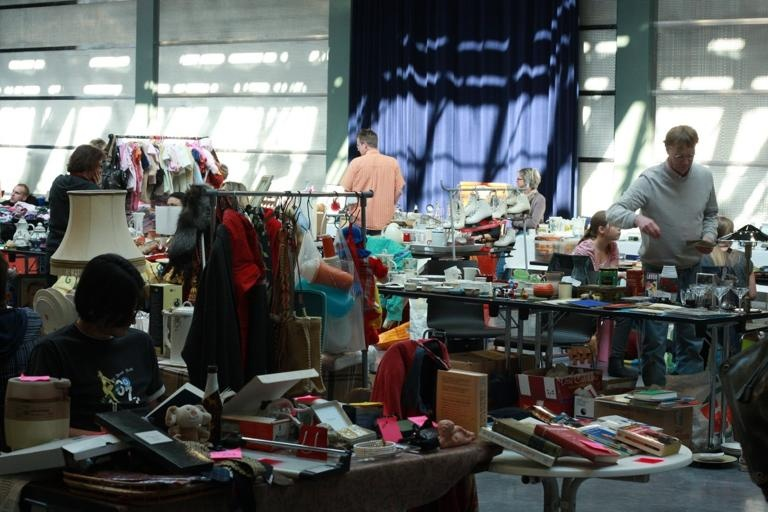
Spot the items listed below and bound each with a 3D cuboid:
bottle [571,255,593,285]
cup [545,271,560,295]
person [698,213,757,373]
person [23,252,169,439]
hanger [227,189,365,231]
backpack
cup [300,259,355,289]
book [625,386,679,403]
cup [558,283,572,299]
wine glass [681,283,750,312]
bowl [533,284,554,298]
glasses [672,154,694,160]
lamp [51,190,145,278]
[{"bbox_3d":[1.530,0.102,5.665,0.161,0.235,0.202,4,1,41],"label":"bottle"},{"bbox_3d":[1.085,0.193,4.847,0.124,0.163,0.118,0,-1,0],"label":"cup"},{"bbox_3d":[2.474,0.331,5.245,0.337,1.005,0.283,-5,18,26],"label":"person"},{"bbox_3d":[-1.138,0.370,2.952,0.401,0.744,0.731,-1,1,29],"label":"person"},{"bbox_3d":[-0.580,-0.306,5.050,0.599,0.368,0.040,0,12,-3],"label":"hanger"},{"bbox_3d":[0.117,0.491,3.278,0.295,0.377,0.362,4,4,35],"label":"backpack"},{"bbox_3d":[-0.302,0.135,4.270,0.207,0.103,0.158,20,-3,-26],"label":"cup"},{"bbox_3d":[1.476,0.771,4.068,0.281,0.083,0.184,4,0,14],"label":"book"},{"bbox_3d":[1.153,0.230,4.776,0.089,0.104,0.091,2,-1,0],"label":"cup"},{"bbox_3d":[1.972,0.245,4.430,0.353,0.151,0.155,4,0,-8],"label":"wine glass"},{"bbox_3d":[1.032,0.224,4.764,0.092,0.066,0.093,0,1,0],"label":"bowl"},{"bbox_3d":[1.998,-0.654,4.927,0.159,0.033,0.068,4,0,-28],"label":"glasses"},{"bbox_3d":[-1.395,-0.113,3.716,0.412,0.375,0.431,0,-1,26],"label":"lamp"}]
